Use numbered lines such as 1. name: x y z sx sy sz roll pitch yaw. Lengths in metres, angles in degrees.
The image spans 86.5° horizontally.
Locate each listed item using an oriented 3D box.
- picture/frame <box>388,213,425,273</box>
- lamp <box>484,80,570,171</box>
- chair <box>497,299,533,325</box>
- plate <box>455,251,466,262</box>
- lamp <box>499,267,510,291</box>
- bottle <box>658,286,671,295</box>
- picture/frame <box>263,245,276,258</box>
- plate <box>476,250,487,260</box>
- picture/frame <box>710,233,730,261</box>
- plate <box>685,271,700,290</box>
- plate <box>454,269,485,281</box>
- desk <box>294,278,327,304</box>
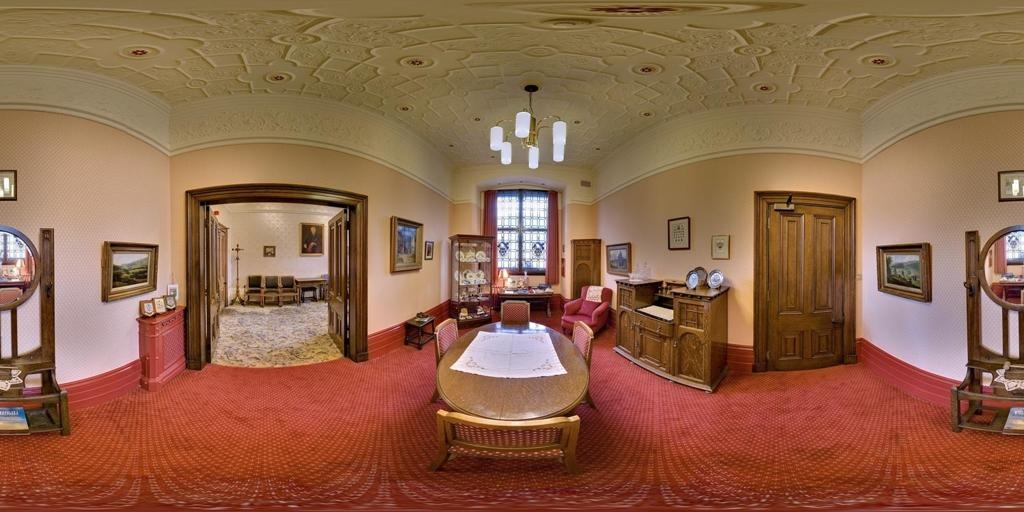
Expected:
1. picture/frame: -2.218 -0.276 11.339 0.177 1.052 1.419 1 -2 23
2. lamp: 0.329 -2.545 10.005 1.550 1.064 1.332 8 16 22
3. chair: -0.005 1.067 10.360 0.483 0.669 0.461 0 -7 3
4. plate: -1.124 0.002 12.412 0.206 0.205 0.100 0 2 -5
5. lamp: -0.180 0.591 13.666 0.310 0.539 0.527 0 2 -3
6. bottle: 3.136 0.689 10.944 0.205 0.184 0.194 3 -1 -14
7. picture/frame: -7.056 -0.142 15.777 0.455 0.383 0.033 -1 -2 -22
8. plate: -0.693 -0.020 12.520 0.255 0.207 0.187 0 2 -3
9. picture/frame: 4.042 -0.189 10.431 0.362 0.480 0.079 0 2 16
10. plate: 3.469 0.440 10.270 0.070 0.305 0.331 17 13 -41
11. plate: -0.940 0.459 12.449 0.629 0.296 0.125 0 2 -10
12. desk: -5.811 0.972 15.728 0.841 0.666 0.754 -1 2 -20
